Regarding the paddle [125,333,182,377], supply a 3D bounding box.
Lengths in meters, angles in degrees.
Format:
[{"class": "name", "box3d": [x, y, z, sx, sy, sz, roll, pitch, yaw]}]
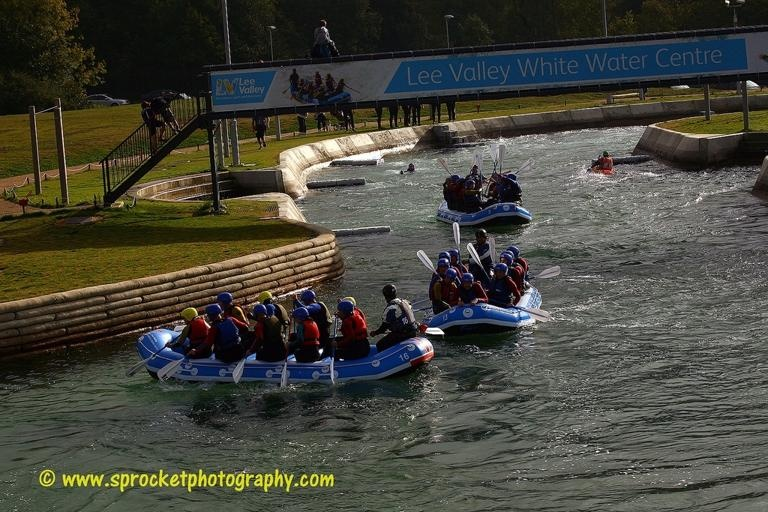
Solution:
[{"class": "paddle", "box3d": [-5.991, 2.623, 24.568, 2.323, 0.274, 0.128, -26, -27, -6]}]

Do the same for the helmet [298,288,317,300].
[{"class": "helmet", "box3d": [-2.014, 1.063, 24.276, 0.317, 0.257, 0.384, -2, 9, 2]}]

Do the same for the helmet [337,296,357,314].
[{"class": "helmet", "box3d": [-0.994, 1.257, 23.609, 0.445, 0.376, 0.474, -11, 27, -31]}]

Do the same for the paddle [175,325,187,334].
[{"class": "paddle", "box3d": [-5.588, 2.016, 25.615, 0.317, 0.088, 0.357, 0, 8, 6]}]

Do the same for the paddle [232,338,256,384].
[{"class": "paddle", "box3d": [-3.663, 2.731, 23.850, 0.393, 0.977, 0.862, 0, 11, 13]}]

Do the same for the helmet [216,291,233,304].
[{"class": "helmet", "box3d": [-4.176, 1.109, 24.365, 0.412, 0.098, 0.331, 0, 20, 0]}]

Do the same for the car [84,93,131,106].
[{"class": "car", "box3d": [-25.253, -13.866, 84.960, 3.313, 1.204, 7.803, -4, 9, -16]}]

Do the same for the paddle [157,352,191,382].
[{"class": "paddle", "box3d": [-5.476, 2.892, 24.092, 1.085, 0.290, 0.176, -30, 4, -14]}]

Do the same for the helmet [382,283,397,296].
[{"class": "helmet", "box3d": [0.081, 0.926, 24.496, 0.313, 0.317, 0.375, -3, 10, -5]}]
